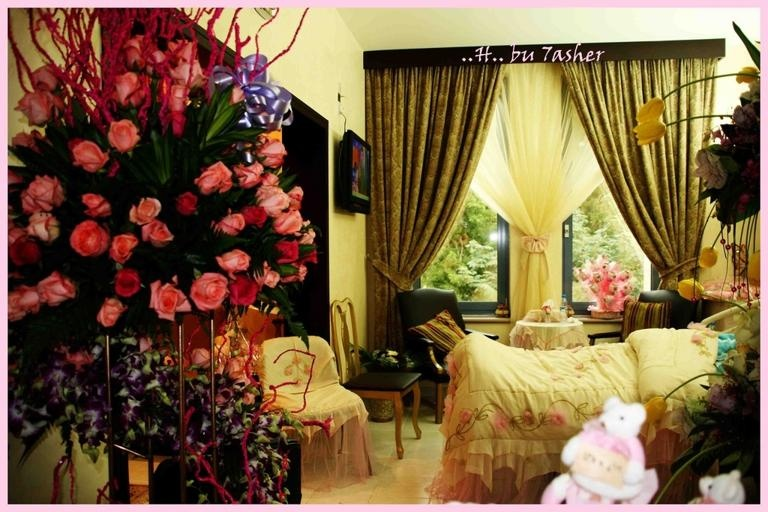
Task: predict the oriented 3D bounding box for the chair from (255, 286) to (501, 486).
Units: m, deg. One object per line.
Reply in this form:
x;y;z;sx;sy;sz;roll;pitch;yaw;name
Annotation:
-0.051;0.921;3.848;1.176;1.639;1.045;-4;-2;28;chair

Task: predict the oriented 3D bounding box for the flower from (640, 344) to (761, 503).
0.858;0.435;1.454;0.242;0.454;0.371;-4;-2;33;flower

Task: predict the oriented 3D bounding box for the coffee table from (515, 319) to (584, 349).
1.539;0.715;5.125;0.395;0.196;0.359;-1;3;-3;coffee table

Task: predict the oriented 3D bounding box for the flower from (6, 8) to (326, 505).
-0.590;-0.017;1.471;0.807;1.501;0.506;-3;-2;-7;flower

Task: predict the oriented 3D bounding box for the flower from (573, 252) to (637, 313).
2.319;0.289;5.756;0.548;0.595;0.606;0;1;-4;flower

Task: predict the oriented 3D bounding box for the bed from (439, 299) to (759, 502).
1.103;0.843;3.177;1.709;0.558;1.184;-6;10;3;bed
